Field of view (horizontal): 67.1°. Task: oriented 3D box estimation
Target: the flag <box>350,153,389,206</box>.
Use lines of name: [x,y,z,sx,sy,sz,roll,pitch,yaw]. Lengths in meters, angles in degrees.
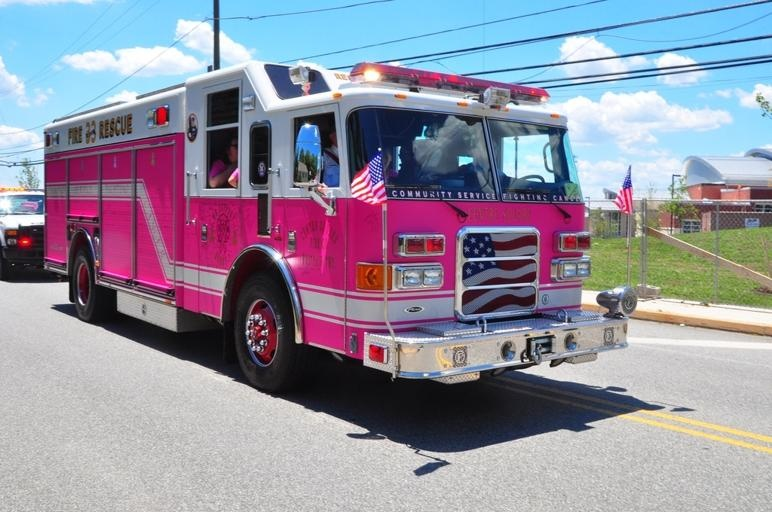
flag: [-0.164,-0.783,6.068,0.549,0.792,0.123,1,3,39]
